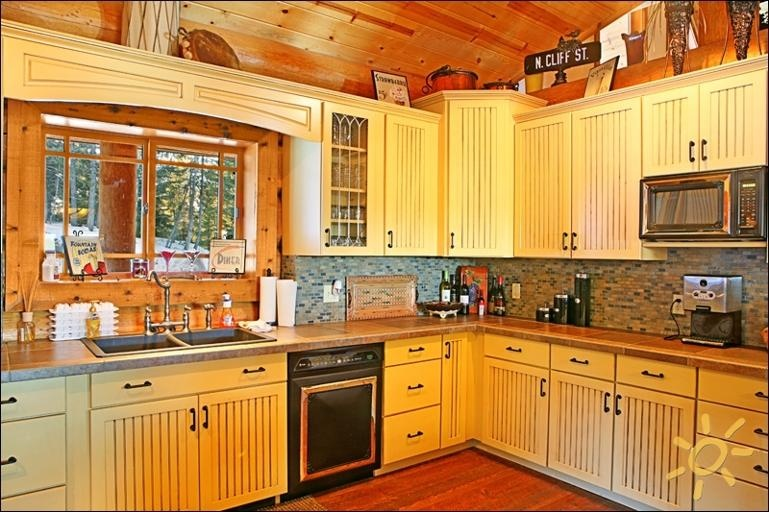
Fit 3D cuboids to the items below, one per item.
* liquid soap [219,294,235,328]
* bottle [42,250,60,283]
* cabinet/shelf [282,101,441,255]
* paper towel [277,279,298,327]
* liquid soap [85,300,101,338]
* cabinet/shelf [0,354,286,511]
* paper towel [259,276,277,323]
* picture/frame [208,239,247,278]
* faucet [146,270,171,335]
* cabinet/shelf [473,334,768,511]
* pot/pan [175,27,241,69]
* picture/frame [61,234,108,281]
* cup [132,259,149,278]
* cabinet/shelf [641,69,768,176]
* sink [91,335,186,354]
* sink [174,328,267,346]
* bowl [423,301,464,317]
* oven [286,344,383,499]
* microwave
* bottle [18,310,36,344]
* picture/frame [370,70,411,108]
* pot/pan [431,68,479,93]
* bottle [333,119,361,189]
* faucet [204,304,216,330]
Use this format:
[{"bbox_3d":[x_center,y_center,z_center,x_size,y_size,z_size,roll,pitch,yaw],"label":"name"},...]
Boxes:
[{"bbox_3d":[-1.261,0.423,4.569,0.094,0.198,0.178,-3,2,-14],"label":"liquid soap"},{"bbox_3d":[-2.410,0.073,4.127,0.100,0.211,0.116,-3,2,-8],"label":"bottle"},{"bbox_3d":[-0.257,-0.653,4.830,1.451,1.271,0.540,2,-4,-32],"label":"cabinet/shelf"},{"bbox_3d":[-0.811,0.386,4.688,0.157,0.268,0.103,-3,2,-16],"label":"paper towel"},{"bbox_3d":[-2.083,0.458,4.090,0.095,0.224,0.048,-4,2,-31],"label":"liquid soap"},{"bbox_3d":[-1.626,1.129,3.688,1.428,0.795,0.438,3,-8,-31],"label":"cabinet/shelf"},{"bbox_3d":[-0.951,0.365,4.664,0.134,0.285,0.084,-4,2,-27],"label":"paper towel"},{"bbox_3d":[-1.291,0.010,4.681,0.311,0.287,0.016,2,-1,8],"label":"picture/frame"},{"bbox_3d":[-1.716,0.337,4.364,0.166,0.379,0.274,-4,2,-20],"label":"faucet"},{"bbox_3d":[1.721,1.180,4.055,0.356,0.661,1.350,6,-6,-42],"label":"cabinet/shelf"},{"bbox_3d":[-1.368,-1.553,4.387,0.394,0.294,0.090,20,-39,-40],"label":"pot/pan"},{"bbox_3d":[-2.218,0.018,4.199,0.341,0.421,0.057,-6,-10,-45],"label":"picture/frame"},{"bbox_3d":[-1.864,0.098,4.372,0.117,0.118,0.118,-3,1,0],"label":"cup"},{"bbox_3d":[2.337,-0.957,4.147,0.400,0.765,0.934,2,-2,-43],"label":"cabinet/shelf"},{"bbox_3d":[-1.790,0.630,4.119,0.323,0.109,0.257,-2,5,-37],"label":"sink"},{"bbox_3d":[-1.319,0.615,4.381,0.295,0.073,0.287,-2,4,-39],"label":"sink"},{"bbox_3d":[0.490,0.488,5.322,0.286,0.136,0.375,-3,1,-34],"label":"bowl"},{"bbox_3d":[-0.552,1.196,4.649,0.862,1.090,0.825,-3,6,-40],"label":"oven"},{"bbox_3d":[2.391,-0.253,4.217,0.488,0.508,0.833,4,-3,-39],"label":"microwave"},{"bbox_3d":[-2.494,0.484,3.963,0.102,0.204,0.051,-4,2,-20],"label":"bottle"},{"bbox_3d":[0.067,-1.512,5.213,0.444,0.309,0.034,24,48,37],"label":"picture/frame"},{"bbox_3d":[0.608,-1.552,5.174,0.302,0.171,0.287,0,-1,-14],"label":"pot/pan"},{"bbox_3d":[-0.320,-0.866,4.781,0.288,0.601,0.054,-5,2,-40],"label":"bottle"},{"bbox_3d":[-1.375,0.469,4.486,0.085,0.154,0.183,-4,1,-16],"label":"faucet"}]
